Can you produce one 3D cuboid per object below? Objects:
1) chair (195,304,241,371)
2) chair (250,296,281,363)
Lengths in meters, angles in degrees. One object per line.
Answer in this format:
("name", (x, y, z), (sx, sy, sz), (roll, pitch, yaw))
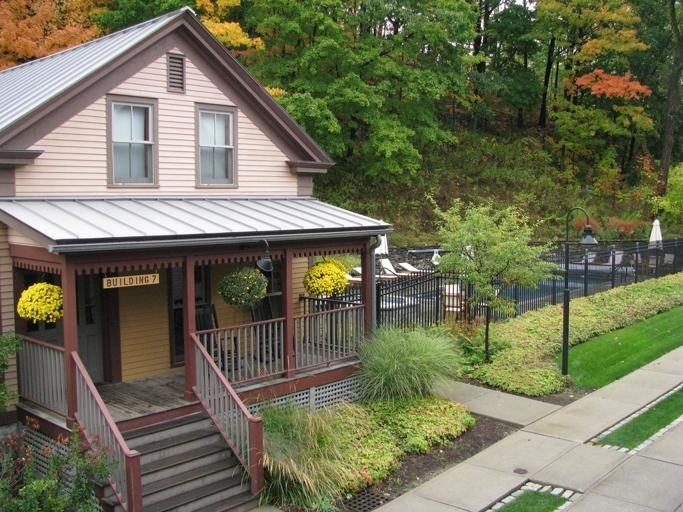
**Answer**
("chair", (-2.887, 1.911, 15.782), (0.964, 1.471, 2.770), (-1, 15, -12))
("chair", (-1.996, 1.573, 17.379), (0.461, 0.870, 0.640), (-23, 7, -2))
